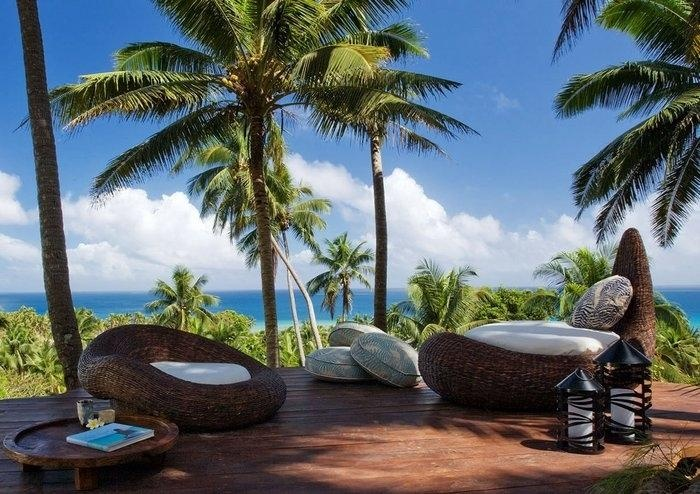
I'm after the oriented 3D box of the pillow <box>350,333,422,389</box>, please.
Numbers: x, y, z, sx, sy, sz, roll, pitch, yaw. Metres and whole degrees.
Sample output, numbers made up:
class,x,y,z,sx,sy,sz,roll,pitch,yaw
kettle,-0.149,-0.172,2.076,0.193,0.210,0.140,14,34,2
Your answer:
class,x,y,z,sx,sy,sz,roll,pitch,yaw
pillow,0.387,1.217,5.561,0.778,0.599,0.697,7,3,-34

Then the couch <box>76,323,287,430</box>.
class,x,y,z,sx,sy,sz,roll,pitch,yaw
couch,-1.581,1.199,4.478,1.653,0.775,1.510,6,-7,-33

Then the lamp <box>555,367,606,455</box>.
class,x,y,z,sx,sy,sz,roll,pitch,yaw
lamp,1.773,1.271,3.699,0.354,0.623,0.200,0,-5,15

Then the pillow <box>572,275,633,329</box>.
class,x,y,z,sx,sy,sz,roll,pitch,yaw
pillow,2.633,0.591,5.131,0.545,0.575,0.633,2,4,28

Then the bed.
class,x,y,z,sx,sy,sz,roll,pitch,yaw
bed,2.012,0.702,5.220,2.443,1.565,1.809,-5,5,-2

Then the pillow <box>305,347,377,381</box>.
class,x,y,z,sx,sy,sz,roll,pitch,yaw
pillow,-0.072,1.422,6.023,0.894,0.332,0.907,-5,-5,36

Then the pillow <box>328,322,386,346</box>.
class,x,y,z,sx,sy,sz,roll,pitch,yaw
pillow,-0.025,1.127,6.147,0.419,0.194,0.425,5,-7,41
